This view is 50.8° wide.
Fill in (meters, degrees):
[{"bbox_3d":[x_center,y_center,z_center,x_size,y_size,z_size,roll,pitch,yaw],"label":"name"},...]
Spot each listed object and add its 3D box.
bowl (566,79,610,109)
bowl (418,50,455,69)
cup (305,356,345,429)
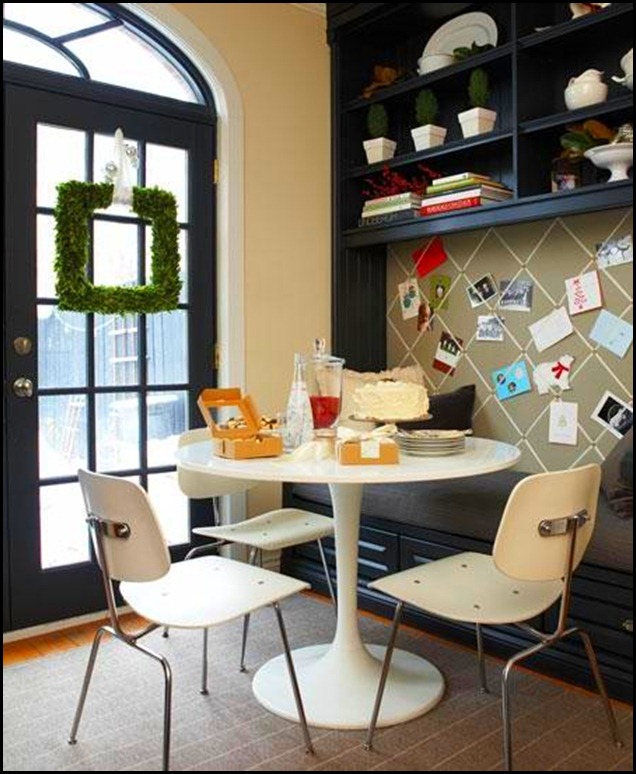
[{"bbox_3d":[0.945,-1.030,2.360,0.143,0.100,0.147,-2,6,0],"label":"bowl"},{"bbox_3d":[0.506,-1.395,2.867,0.126,0.071,0.121,-2,6,0],"label":"bowl"},{"bbox_3d":[0.014,0.017,1.716,0.090,0.169,0.158,-1,-1,0],"label":"cup"}]
